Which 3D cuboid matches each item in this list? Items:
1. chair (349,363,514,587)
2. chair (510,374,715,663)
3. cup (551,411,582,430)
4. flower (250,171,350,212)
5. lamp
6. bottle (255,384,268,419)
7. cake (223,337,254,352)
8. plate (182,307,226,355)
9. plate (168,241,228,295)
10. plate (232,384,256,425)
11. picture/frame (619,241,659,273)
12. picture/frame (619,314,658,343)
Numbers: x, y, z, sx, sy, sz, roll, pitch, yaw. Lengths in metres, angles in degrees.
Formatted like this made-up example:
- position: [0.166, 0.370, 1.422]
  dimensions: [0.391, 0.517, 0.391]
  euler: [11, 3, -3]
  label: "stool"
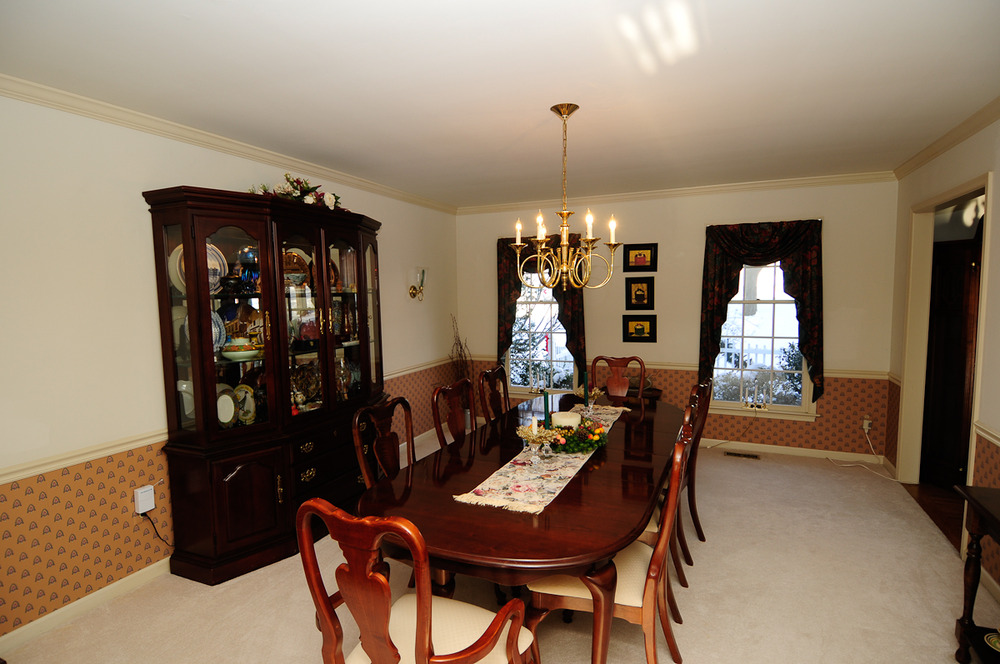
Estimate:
- position: [-0.506, 0.999, 4.638]
  dimensions: [0.450, 0.676, 1.552]
  euler: [-1, 3, 15]
  label: "chair"
- position: [0.808, 1.261, 5.226]
  dimensions: [1.562, 2.509, 1.445]
  euler: [0, -3, 22]
  label: "chair"
- position: [0.496, 0.656, 4.926]
  dimensions: [0.131, 0.084, 0.136]
  euler: [-1, 3, 0]
  label: "cup"
- position: [-1.642, -1.156, 5.620]
  dimensions: [0.423, 0.208, 0.606]
  euler: [22, -5, 20]
  label: "flower"
- position: [0.500, -1.054, 5.144]
  dimensions: [0.891, 1.392, 0.798]
  euler: [0, 4, 10]
  label: "lamp"
- position: [-1.854, 0.541, 5.048]
  dimensions: [0.078, 0.221, 0.155]
  euler: [1, 2, -37]
  label: "bottle"
- position: [-1.985, 0.094, 5.017]
  dimensions: [0.120, 0.070, 0.124]
  euler: [6, 8, 23]
  label: "cake"
- position: [-2.209, -0.003, 4.939]
  dimensions: [0.139, 0.332, 0.266]
  euler: [-4, -6, 34]
  label: "plate"
- position: [-2.285, -0.476, 4.919]
  dimensions: [0.442, 0.384, 0.180]
  euler: [-1, 3, 7]
  label: "plate"
- position: [-1.909, 0.554, 4.974]
  dimensions: [0.186, 0.273, 0.076]
  euler: [6, -6, -26]
  label: "plate"
- position: [1.553, -0.837, 7.294]
  dimensions: [0.409, 0.372, 0.031]
  euler: [1, 5, 21]
  label: "picture/frame"
- position: [1.566, -0.042, 7.374]
  dimensions: [0.299, 0.264, 0.030]
  euler: [1, 2, 22]
  label: "picture/frame"
